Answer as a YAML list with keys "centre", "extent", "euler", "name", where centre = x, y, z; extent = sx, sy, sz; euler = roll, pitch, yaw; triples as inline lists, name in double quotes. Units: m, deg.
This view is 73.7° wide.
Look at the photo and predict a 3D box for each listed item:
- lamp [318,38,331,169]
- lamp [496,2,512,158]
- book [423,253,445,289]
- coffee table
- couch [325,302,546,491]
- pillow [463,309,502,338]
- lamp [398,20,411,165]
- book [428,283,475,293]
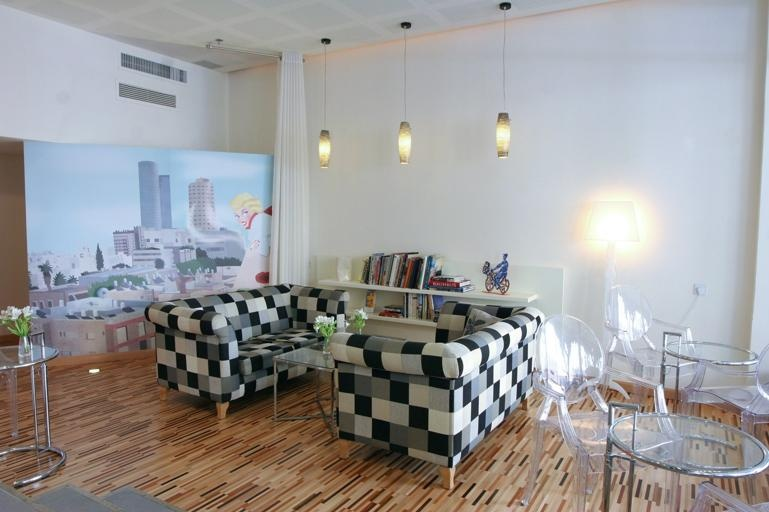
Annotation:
- centre: [-0.810, -2.034, 7.044]
  extent: [0.224, 1.629, 0.697]
  euler: [-3, 5, -8]
  name: "lamp"
- centre: [1.413, -1.999, 6.026]
  extent: [0.176, 1.651, 0.553]
  euler: [-1, 6, 14]
  name: "lamp"
- centre: [0.726, 0.195, 6.492]
  extent: [0.194, 0.399, 0.447]
  euler: [9, -7, -21]
  name: "book"
- centre: [-0.439, 1.155, 4.761]
  extent: [0.586, 0.461, 1.016]
  euler: [3, 2, 27]
  name: "coffee table"
- centre: [0.613, 1.158, 5.098]
  extent: [1.312, 1.031, 2.209]
  euler: [3, 4, 33]
  name: "couch"
- centre: [0.956, 0.636, 4.909]
  extent: [0.112, 0.265, 0.266]
  euler: [15, -3, -24]
  name: "pillow"
- centre: [0.269, -2.015, 6.530]
  extent: [0.198, 1.635, 0.607]
  euler: [-2, 5, 3]
  name: "lamp"
- centre: [0.827, 0.388, 6.336]
  extent: [0.523, 0.081, 0.209]
  euler: [-1, 4, 7]
  name: "book"
